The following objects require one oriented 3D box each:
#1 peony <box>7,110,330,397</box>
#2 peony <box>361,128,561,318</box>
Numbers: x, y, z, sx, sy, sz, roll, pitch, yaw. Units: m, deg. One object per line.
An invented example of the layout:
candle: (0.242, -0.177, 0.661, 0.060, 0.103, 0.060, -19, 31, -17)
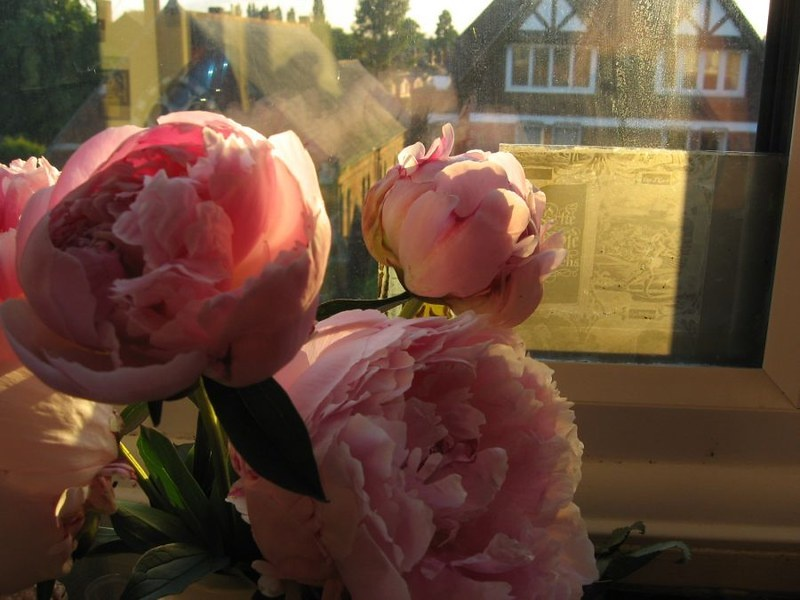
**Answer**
peony: (-0.144, -0.029, 0.501, 0.200, 0.172, 0.082, 0, 12, -7)
peony: (0.049, -0.057, 0.618, 0.154, 0.150, 0.070, 1, 12, -5)
